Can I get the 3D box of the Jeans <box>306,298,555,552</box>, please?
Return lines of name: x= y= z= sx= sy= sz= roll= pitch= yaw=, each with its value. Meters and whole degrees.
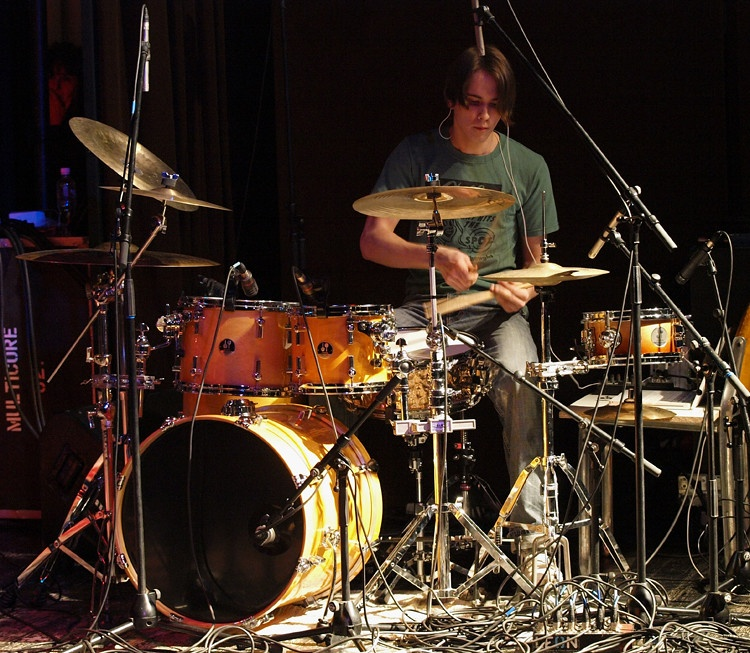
Jeans: x=0.255 y=0.312 z=4.510 sx=0.660 sy=0.809 sz=0.794 roll=0 pitch=-8 yaw=-6

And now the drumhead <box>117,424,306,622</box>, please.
drumhead: x=-0.601 y=0.740 z=4.036 sx=0.717 sy=0.774 sz=0.301 roll=1 pitch=-3 yaw=24

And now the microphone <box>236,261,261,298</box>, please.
microphone: x=-0.553 y=-0.197 z=4.679 sx=0.062 sy=0.055 sz=0.236 roll=-34 pitch=-8 yaw=-9

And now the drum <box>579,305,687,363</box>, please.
drum: x=1.032 y=0.045 z=4.323 sx=0.281 sy=0.161 sz=0.258 roll=-1 pitch=-4 yaw=0

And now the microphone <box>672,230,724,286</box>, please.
microphone: x=1.159 y=-0.242 z=3.866 sx=0.053 sy=0.085 sz=0.269 roll=-35 pitch=-13 yaw=-32

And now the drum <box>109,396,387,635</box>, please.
drum: x=-0.490 y=0.702 z=4.254 sx=0.957 sy=0.978 sz=0.765 roll=1 pitch=2 yaw=26

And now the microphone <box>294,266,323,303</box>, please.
microphone: x=-0.253 y=-0.145 z=4.061 sx=0.111 sy=0.124 sz=0.226 roll=0 pitch=-7 yaw=-5

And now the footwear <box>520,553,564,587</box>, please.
footwear: x=0.620 y=0.917 z=4.101 sx=0.084 sy=0.092 sz=0.083 roll=-35 pitch=-54 yaw=16
